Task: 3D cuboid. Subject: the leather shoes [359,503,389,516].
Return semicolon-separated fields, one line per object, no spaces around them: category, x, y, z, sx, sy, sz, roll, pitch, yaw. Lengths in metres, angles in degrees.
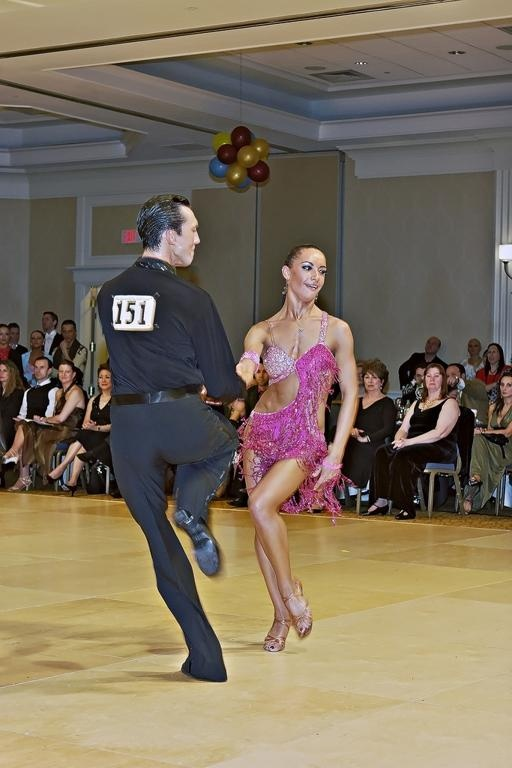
leather shoes;1.407;1.483;7.683;0.387;0.143;0.123;4;-1;-14

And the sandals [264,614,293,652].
sandals;0.083;1.001;2.609;0.062;0.056;0.162;0;7;10

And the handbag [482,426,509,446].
handbag;2.863;0.624;7.842;0.268;0.104;0.184;11;34;11

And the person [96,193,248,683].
person;-0.243;0.184;2.010;0.459;1.541;0.334;0;-1;-21

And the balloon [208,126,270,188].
balloon;-0.238;-3.074;8.886;0.782;0.743;0.425;0;-1;3

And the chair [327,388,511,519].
chair;1.754;0.874;8.489;1.633;2.097;1.263;14;-8;-35

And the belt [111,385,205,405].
belt;-0.297;0.037;1.982;0.280;0.063;0.220;0;-1;-10

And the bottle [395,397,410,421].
bottle;2.035;0.370;9.104;0.248;0.161;0.332;1;12;18

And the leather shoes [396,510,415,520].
leather shoes;1.647;1.460;7.278;0.201;0.102;0.090;-1;-1;22

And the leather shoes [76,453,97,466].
leather shoes;-2.255;1.009;8.755;0.247;0.186;0.454;0;-1;-17
